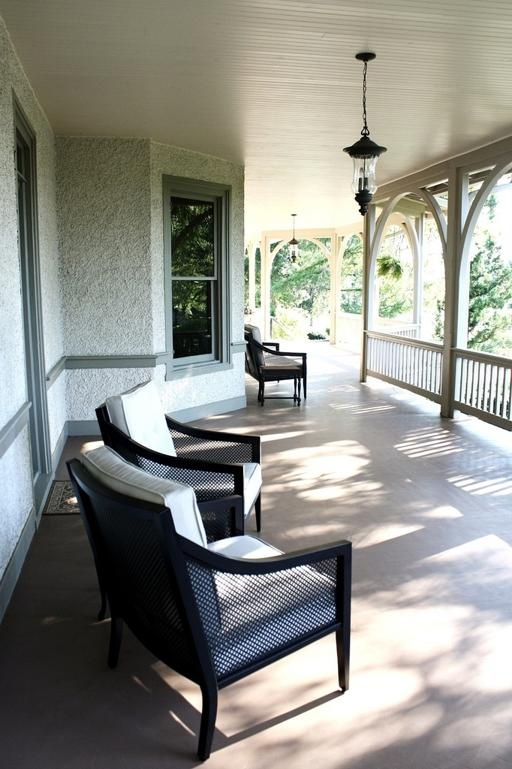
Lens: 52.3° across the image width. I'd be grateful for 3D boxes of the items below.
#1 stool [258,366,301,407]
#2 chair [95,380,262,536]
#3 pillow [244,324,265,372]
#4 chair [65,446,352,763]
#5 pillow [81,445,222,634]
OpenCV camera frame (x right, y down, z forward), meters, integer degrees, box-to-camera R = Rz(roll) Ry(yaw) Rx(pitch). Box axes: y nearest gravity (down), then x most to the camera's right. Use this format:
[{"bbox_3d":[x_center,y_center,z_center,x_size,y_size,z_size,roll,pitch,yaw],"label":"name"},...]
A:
[{"bbox_3d":[0.312,-0.057,7.230,0.620,0.593,0.745,0,6,0],"label":"stool"},{"bbox_3d":[-0.321,0.449,2.613,0.685,0.898,0.621,-4,8,2],"label":"chair"},{"bbox_3d":[-0.028,-0.462,7.073,0.261,0.683,0.617,0,6,-1],"label":"pillow"},{"bbox_3d":[-0.188,0.448,1.778,0.835,0.940,0.702,-11,15,-41],"label":"chair"},{"bbox_3d":[-0.256,0.435,1.522,0.606,0.391,0.208,19,41,36],"label":"pillow"}]
